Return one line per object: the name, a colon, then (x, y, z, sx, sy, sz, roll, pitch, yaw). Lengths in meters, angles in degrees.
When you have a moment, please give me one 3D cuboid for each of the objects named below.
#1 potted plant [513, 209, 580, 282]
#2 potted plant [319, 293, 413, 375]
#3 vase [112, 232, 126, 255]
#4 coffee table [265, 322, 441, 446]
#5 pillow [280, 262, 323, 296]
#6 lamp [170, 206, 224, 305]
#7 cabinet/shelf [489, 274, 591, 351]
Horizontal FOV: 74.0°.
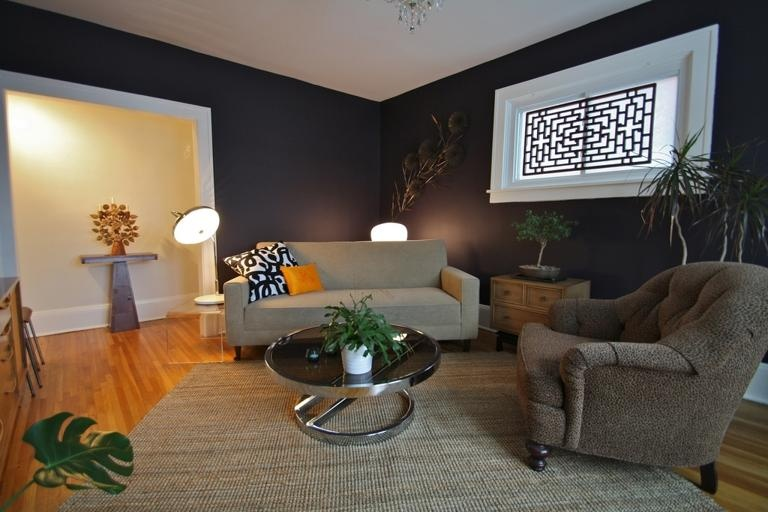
potted plant: (1.558, -0.121, 5.112, 0.504, 0.634, 0.609, 5, -4, -35)
potted plant: (-0.213, 0.605, 3.701, 0.625, 0.417, 0.590, -2, 0, 38)
vase: (-2.972, -0.126, 5.665, 0.140, 0.215, 0.148, -5, 9, -22)
coffee table: (-0.271, 0.872, 3.704, 1.009, 0.383, 0.998, 3, 13, 19)
pillow: (-0.838, 0.217, 5.169, 0.399, 0.296, 0.099, -2, -26, -48)
lamp: (-1.837, -0.025, 5.066, 0.418, 0.943, 0.924, -5, 8, -17)
cabinet/shelf: (1.481, 0.576, 4.977, 0.745, 0.708, 0.510, 7, 10, 41)
